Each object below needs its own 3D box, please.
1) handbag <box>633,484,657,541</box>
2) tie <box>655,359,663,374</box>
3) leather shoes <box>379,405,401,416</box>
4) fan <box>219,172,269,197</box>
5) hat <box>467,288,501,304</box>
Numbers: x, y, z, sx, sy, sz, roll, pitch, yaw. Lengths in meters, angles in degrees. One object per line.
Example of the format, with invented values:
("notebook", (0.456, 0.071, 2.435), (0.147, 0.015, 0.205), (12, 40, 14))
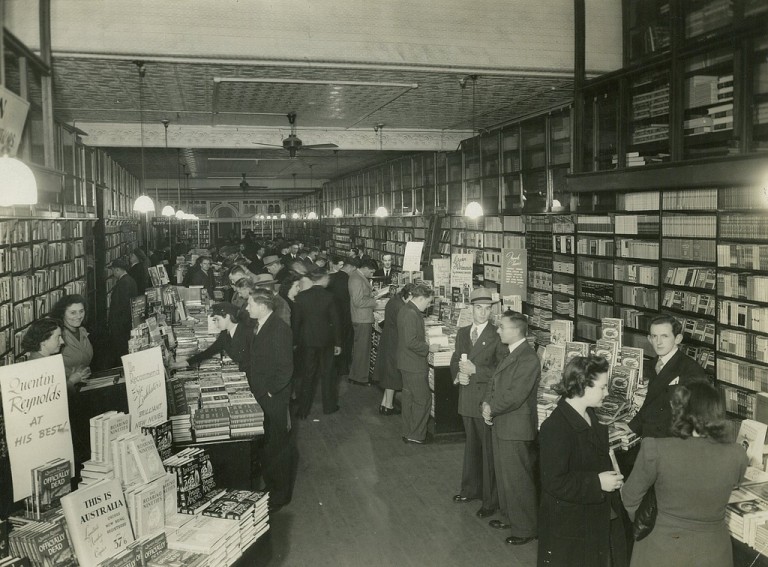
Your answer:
("handbag", (1.868, 1.658, 5.070), (0.119, 0.356, 0.261), (13, -1, 12))
("tie", (2.567, 0.777, 6.634), (0.067, 0.106, 0.103), (6, -19, 21))
("leather shoes", (0.090, 1.725, 9.607), (0.301, 0.125, 0.107), (-2, 4, -20))
("fan", (-5.637, -3.930, 29.109), (1.763, 0.689, 1.742), (-5, 8, -43))
("hat", (0.999, 0.138, 7.435), (0.343, 0.127, 0.372), (-1, -4, -3))
